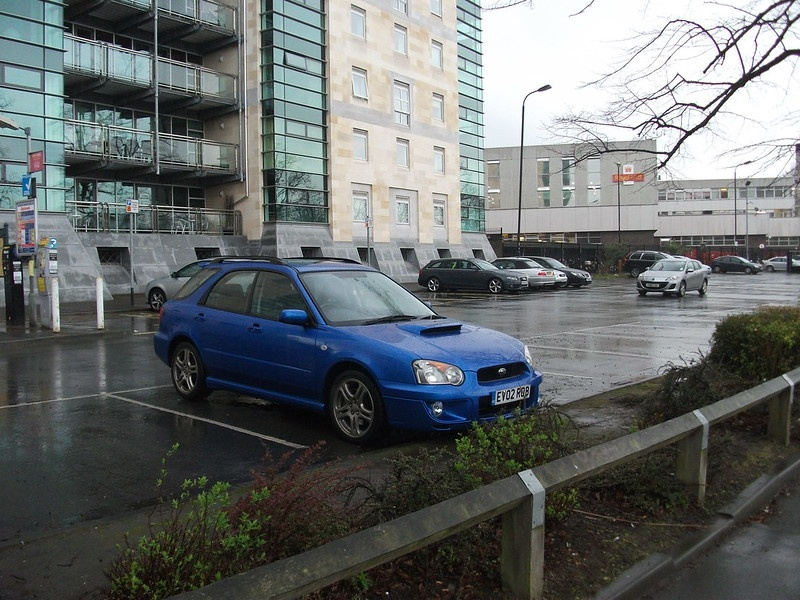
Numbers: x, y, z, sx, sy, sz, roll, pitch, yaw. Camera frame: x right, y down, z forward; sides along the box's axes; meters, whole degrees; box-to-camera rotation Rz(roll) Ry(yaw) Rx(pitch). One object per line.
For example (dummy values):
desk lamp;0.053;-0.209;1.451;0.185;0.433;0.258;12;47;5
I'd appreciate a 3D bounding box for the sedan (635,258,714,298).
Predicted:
sedan;14.744;-1.181;29.296;4.154;1.964;1.929;-6;8;-33

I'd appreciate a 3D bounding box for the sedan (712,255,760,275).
sedan;35.200;-3.606;57.063;3.976;1.532;2.059;0;2;39

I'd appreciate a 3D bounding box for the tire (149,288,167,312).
tire;-8.422;-0.046;18.804;0.826;0.862;0.306;3;5;22

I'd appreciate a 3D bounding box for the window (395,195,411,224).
window;0.147;-6.496;38.538;0.240;2.344;1.982;-6;-8;32

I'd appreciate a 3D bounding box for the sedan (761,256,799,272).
sedan;43.318;-3.893;61.677;3.918;1.353;1.698;-2;3;22

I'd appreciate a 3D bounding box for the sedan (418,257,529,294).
sedan;4.021;-1.156;30.979;5.360;1.731;2.362;-1;0;23

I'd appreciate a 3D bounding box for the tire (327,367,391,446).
tire;-0.433;1.203;5.995;0.805;0.828;0.260;-2;0;42

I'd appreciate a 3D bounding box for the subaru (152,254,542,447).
subaru;-0.903;0.601;7.048;4.785;1.775;2.178;3;0;34

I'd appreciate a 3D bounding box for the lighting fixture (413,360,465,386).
lighting fixture;0.394;0.719;5.536;0.373;0.177;0.291;5;3;9

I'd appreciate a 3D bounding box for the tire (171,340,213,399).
tire;-2.991;1.026;7.824;0.936;0.972;0.262;-4;-2;38
